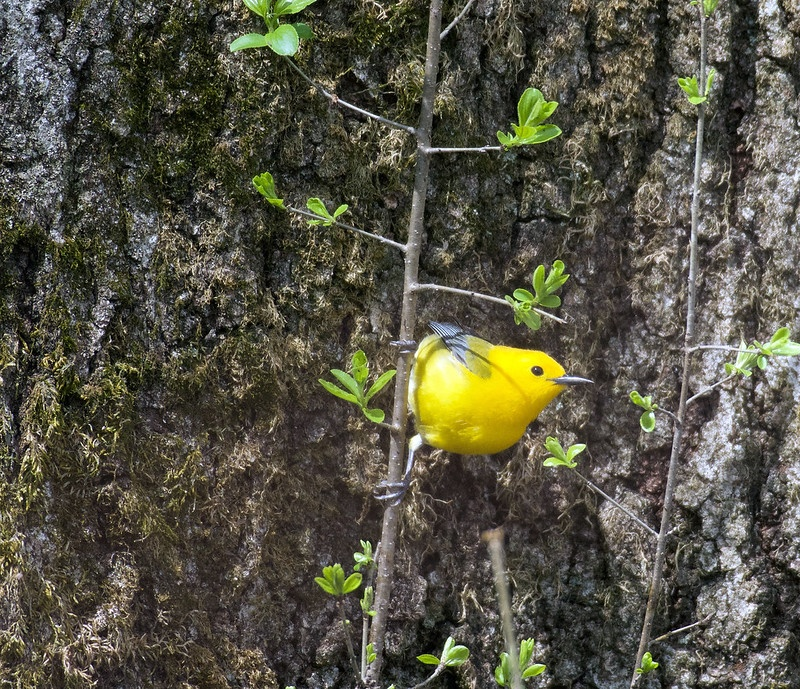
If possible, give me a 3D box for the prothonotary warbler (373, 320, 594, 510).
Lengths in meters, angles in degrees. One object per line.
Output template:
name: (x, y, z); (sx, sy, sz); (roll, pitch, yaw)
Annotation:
prothonotary warbler: (0.285, 0.192, 6.718); (0.803, 0.585, 0.544); (30, 2, 2)
